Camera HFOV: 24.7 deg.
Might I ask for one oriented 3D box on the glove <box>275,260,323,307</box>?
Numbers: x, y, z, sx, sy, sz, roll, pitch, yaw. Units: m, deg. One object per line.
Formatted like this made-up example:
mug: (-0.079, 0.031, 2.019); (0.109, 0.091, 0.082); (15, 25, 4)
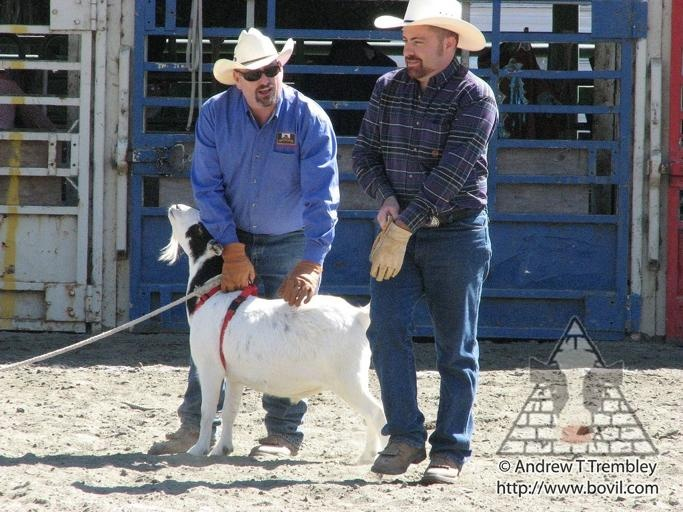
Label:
glove: (-0.380, 0.224, 12.920); (0.322, 0.230, 0.414); (-5, 29, 22)

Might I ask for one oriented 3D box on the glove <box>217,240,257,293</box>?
glove: (-0.901, 0.083, 13.027); (0.297, 0.366, 0.171); (-2, -17, -6)
